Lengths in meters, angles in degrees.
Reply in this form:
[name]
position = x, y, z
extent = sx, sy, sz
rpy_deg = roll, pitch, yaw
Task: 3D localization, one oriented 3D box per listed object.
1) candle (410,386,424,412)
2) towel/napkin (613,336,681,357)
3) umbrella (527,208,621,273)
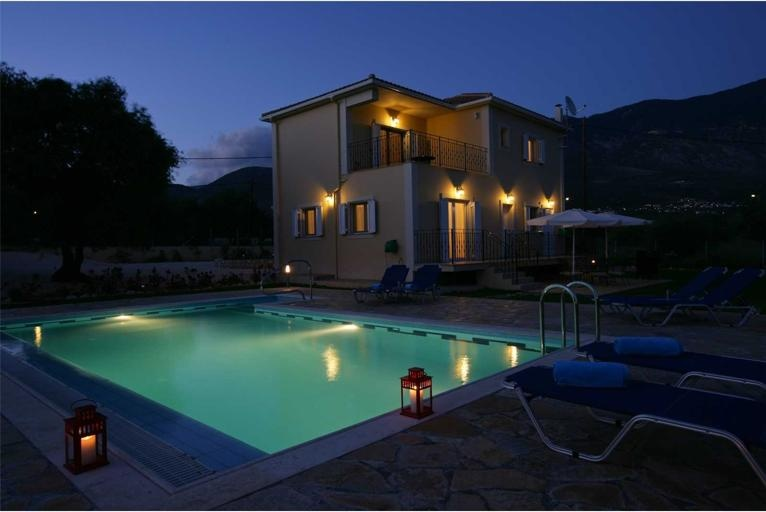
[candle]
position = 0.457, 1.906, 7.172
extent = 0.164, 0.356, 0.168
rpy_deg = -2, 2, -12
[towel/napkin]
position = 3.606, 1.256, 7.484
extent = 0.539, 0.157, 0.378
rpy_deg = -2, -3, 11
[umbrella]
position = 5.342, -0.086, 15.666
extent = 2.284, 2.069, 2.334
rpy_deg = -1, 2, 25
